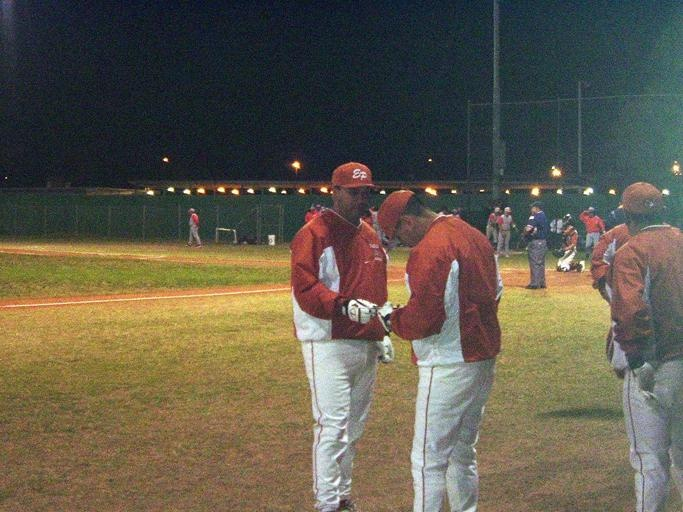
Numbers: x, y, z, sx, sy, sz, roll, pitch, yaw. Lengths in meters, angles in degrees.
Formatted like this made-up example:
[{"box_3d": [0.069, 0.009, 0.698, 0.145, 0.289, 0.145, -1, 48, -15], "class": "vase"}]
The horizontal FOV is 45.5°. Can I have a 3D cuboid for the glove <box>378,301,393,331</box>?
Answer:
[{"box_3d": [0.369, 0.459, 6.451, 0.084, 0.212, 0.134, -7, 21, 27], "class": "glove"}]

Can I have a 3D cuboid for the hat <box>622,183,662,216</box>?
[{"box_3d": [2.483, -0.494, 6.774, 0.253, 0.299, 0.314, 1, 12, 9], "class": "hat"}]

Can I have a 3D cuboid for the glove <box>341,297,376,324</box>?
[{"box_3d": [0.132, 0.426, 6.477, 0.234, 0.092, 0.170, 26, -33, -12], "class": "glove"}]

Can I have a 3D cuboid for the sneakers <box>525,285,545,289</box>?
[{"box_3d": [4.265, 0.665, 18.120, 0.405, 0.157, 0.135, 1, -2, 1], "class": "sneakers"}]

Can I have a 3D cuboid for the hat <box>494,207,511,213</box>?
[{"box_3d": [5.974, -1.797, 30.926, 0.548, 0.288, 0.701, 1, 0, 6], "class": "hat"}]
